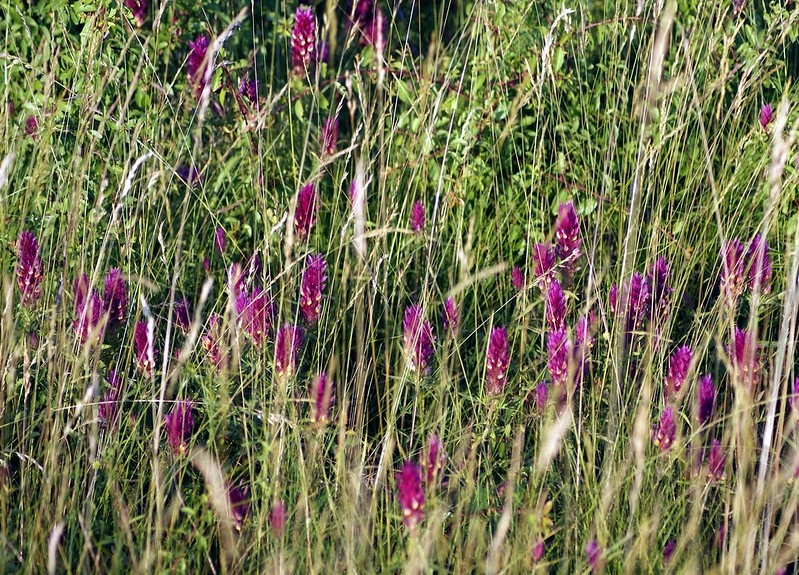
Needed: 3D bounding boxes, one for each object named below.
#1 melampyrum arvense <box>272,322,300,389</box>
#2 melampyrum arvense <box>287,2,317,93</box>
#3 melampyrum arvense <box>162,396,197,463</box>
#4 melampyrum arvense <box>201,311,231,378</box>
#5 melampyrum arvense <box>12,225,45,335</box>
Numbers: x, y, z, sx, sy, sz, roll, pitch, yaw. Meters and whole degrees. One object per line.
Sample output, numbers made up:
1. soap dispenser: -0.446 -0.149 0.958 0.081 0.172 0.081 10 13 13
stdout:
1. melampyrum arvense: -0.282 0.160 2.583 0.052 0.146 0.129 1 10 -9
2. melampyrum arvense: -0.291 -0.760 3.202 0.075 0.214 0.210 1 10 -5
3. melampyrum arvense: -0.545 0.340 2.583 0.065 0.157 0.094 0 9 -16
4. melampyrum arvense: -0.470 0.150 2.686 0.062 0.072 0.155 -12 51 13
5. melampyrum arvense: -0.913 -0.036 2.584 0.063 0.219 0.122 -1 9 -21
